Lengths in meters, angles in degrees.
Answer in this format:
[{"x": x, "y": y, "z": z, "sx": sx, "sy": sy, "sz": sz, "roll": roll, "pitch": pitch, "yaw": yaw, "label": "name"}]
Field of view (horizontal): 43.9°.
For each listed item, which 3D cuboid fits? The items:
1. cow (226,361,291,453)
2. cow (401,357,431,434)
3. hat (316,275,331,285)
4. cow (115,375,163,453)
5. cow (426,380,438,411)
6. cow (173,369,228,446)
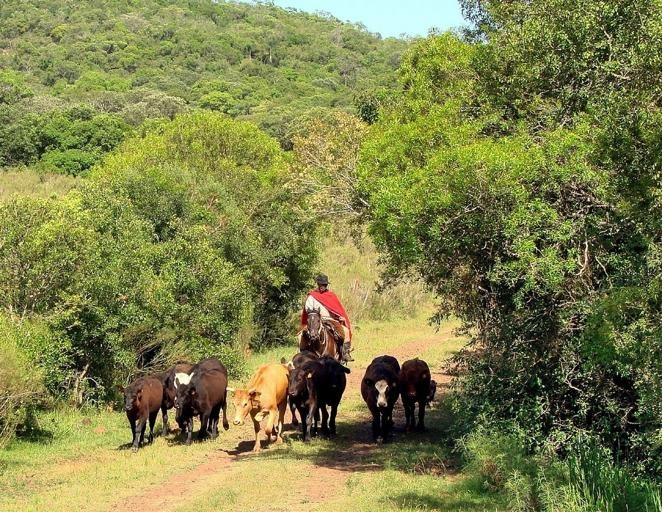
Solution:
[{"x": -1.461, "y": 3.323, "z": 17.799, "sx": 0.706, "sy": 1.728, "sz": 1.986, "roll": 0, "pitch": 9, "yaw": 22, "label": "cow"}, {"x": 1.980, "y": 3.211, "z": 18.976, "sx": 0.761, "sy": 1.683, "sz": 1.093, "roll": -3, "pitch": 8, "yaw": 6, "label": "cow"}, {"x": -0.201, "y": 0.597, "z": 20.576, "sx": 0.255, "sy": 0.153, "sz": 0.247, "roll": 23, "pitch": 3, "yaw": -18, "label": "hat"}, {"x": -4.155, "y": 3.433, "z": 18.096, "sx": 0.650, "sy": 1.528, "sz": 1.441, "roll": -3, "pitch": 8, "yaw": 4, "label": "cow"}, {"x": 2.407, "y": 3.373, "z": 19.786, "sx": 0.210, "sy": 1.048, "sz": 0.483, "roll": 1, "pitch": 7, "yaw": 7, "label": "cow"}, {"x": -2.962, "y": 3.374, "z": 18.372, "sx": 0.724, "sy": 1.561, "sz": 1.533, "roll": 1, "pitch": 10, "yaw": 31, "label": "cow"}]
